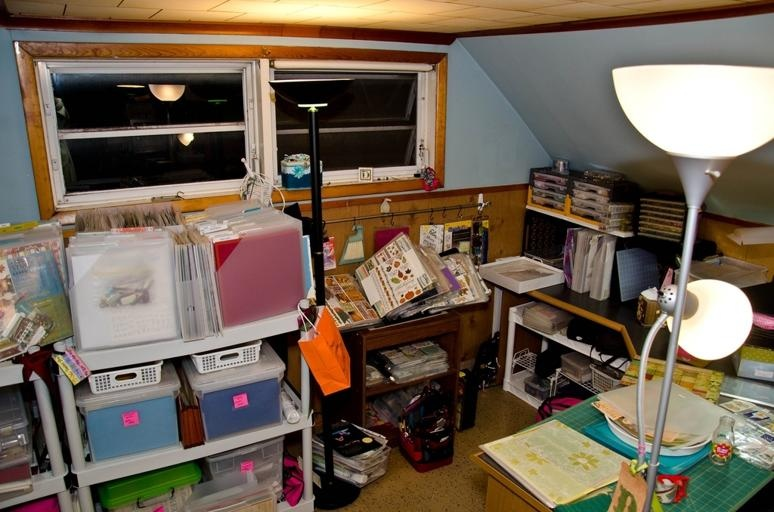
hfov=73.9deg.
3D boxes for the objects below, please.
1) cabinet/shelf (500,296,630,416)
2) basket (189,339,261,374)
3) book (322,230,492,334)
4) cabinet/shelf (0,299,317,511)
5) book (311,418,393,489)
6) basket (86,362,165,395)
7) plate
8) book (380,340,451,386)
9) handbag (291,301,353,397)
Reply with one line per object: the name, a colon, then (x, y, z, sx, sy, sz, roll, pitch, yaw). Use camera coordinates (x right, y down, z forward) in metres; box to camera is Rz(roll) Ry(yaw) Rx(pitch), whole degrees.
cabinet/shelf: (1.310, 0.741, 3.743, 0.359, 0.616, 0.661, -19, 41, -36)
basket: (-0.873, 0.560, 2.774, 0.259, 0.084, 0.196, -11, 16, -25)
book: (0.115, 0.213, 3.522, 1.047, 0.329, 0.589, -10, 57, -19)
cabinet/shelf: (-1.296, 0.774, 2.929, 1.339, 1.246, 1.024, -7, 10, -39)
book: (-0.268, 1.342, 3.376, 0.454, 0.346, 0.341, -16, 18, -38)
basket: (-1.320, 0.619, 2.592, 0.333, 0.116, 0.057, -9, 15, -18)
plate: (1.258, 0.831, 2.364, 0.201, 0.032, 0.199, 3, 21, 10)
book: (0.196, 0.737, 3.585, 0.292, 0.091, 0.297, -8, 18, -23)
handbag: (-0.365, 0.530, 2.917, 0.160, 0.435, 0.312, -22, 17, 8)
